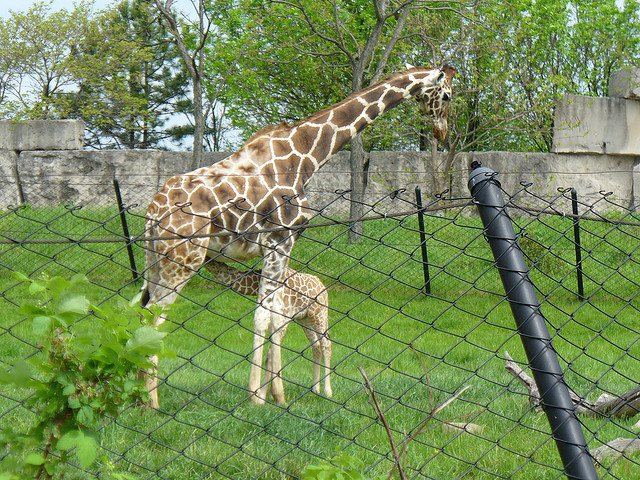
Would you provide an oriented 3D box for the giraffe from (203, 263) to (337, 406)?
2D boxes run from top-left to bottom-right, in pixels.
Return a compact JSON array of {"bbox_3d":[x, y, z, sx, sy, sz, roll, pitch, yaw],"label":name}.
[{"bbox_3d":[-0.742,1.372,17.372,2.026,2.927,5.154,-1,13,0],"label":"giraffe"}]

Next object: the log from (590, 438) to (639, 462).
[{"bbox_3d":[4.932,3.436,15.941,0.943,0.304,0.367,-5,13,-18],"label":"log"}]

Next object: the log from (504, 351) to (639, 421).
[{"bbox_3d":[4.301,2.543,16.468,2.965,0.600,1.118,6,51,16],"label":"log"}]
